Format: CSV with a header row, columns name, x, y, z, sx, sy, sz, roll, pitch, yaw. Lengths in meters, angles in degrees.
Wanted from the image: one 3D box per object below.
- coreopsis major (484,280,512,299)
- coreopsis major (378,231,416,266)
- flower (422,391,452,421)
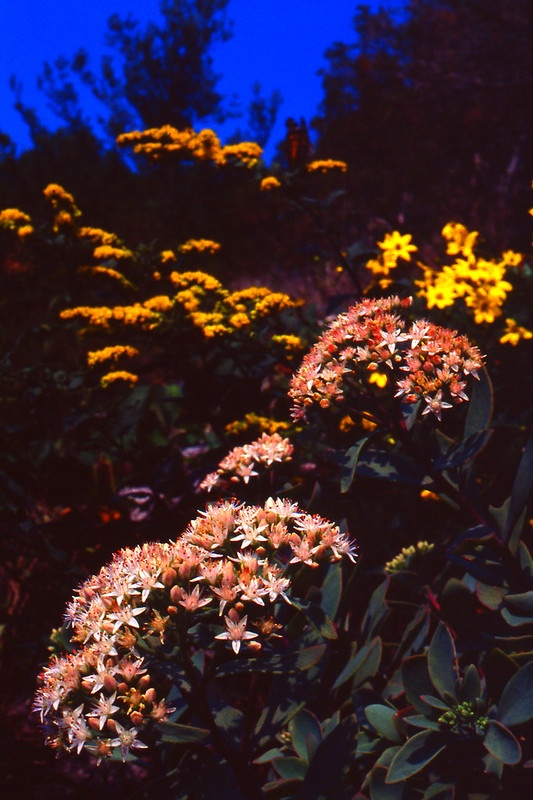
name,x,y,z,sx,sy,sz,roll,pitch,yaw
coreopsis major,0.757,-0.357,2.809,0.066,0.049,0.085,14,-27,-9
coreopsis major,0.471,-0.547,3.173,0.120,0.131,0.114,11,-28,-1
flower,0.453,0.022,2.297,0.083,0.075,0.029,-4,-17,-2
